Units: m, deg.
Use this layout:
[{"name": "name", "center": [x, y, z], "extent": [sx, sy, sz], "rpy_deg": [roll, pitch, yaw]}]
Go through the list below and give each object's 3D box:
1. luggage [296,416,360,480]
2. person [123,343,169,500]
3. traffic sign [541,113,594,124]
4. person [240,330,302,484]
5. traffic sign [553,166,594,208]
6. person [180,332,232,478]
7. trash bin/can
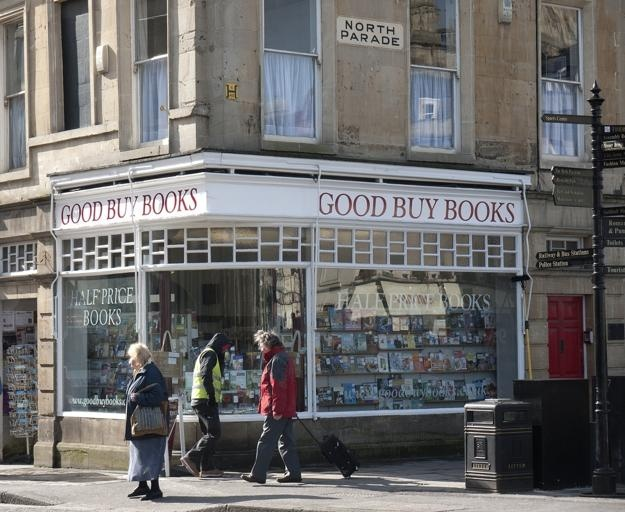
[{"name": "luggage", "center": [0.438, 3.270, 24.291], "extent": [0.640, 0.848, 0.355], "rpy_deg": [-2, 0, 1]}, {"name": "person", "center": [-2.636, 2.612, 23.190], "extent": [0.749, 2.111, 0.986], "rpy_deg": [4, -1, -11]}, {"name": "traffic sign", "center": [4.013, -2.171, 23.371], "extent": [0.761, 0.173, 0.565], "rpy_deg": [-2, 0, 9]}, {"name": "person", "center": [-0.648, 2.430, 23.995], "extent": [0.899, 2.489, 0.849], "rpy_deg": [0, -3, 2]}, {"name": "traffic sign", "center": [4.147, -1.116, 23.620], "extent": [0.803, 0.577, 0.295], "rpy_deg": [-2, 1, -22]}, {"name": "person", "center": [-1.828, 2.469, 24.692], "extent": [0.770, 2.224, 0.952], "rpy_deg": [4, 0, -28]}, {"name": "trash bin/can", "center": [2.742, 2.929, 22.975], "extent": [0.956, 1.398, 1.059], "rpy_deg": [0, -6, -41]}]
